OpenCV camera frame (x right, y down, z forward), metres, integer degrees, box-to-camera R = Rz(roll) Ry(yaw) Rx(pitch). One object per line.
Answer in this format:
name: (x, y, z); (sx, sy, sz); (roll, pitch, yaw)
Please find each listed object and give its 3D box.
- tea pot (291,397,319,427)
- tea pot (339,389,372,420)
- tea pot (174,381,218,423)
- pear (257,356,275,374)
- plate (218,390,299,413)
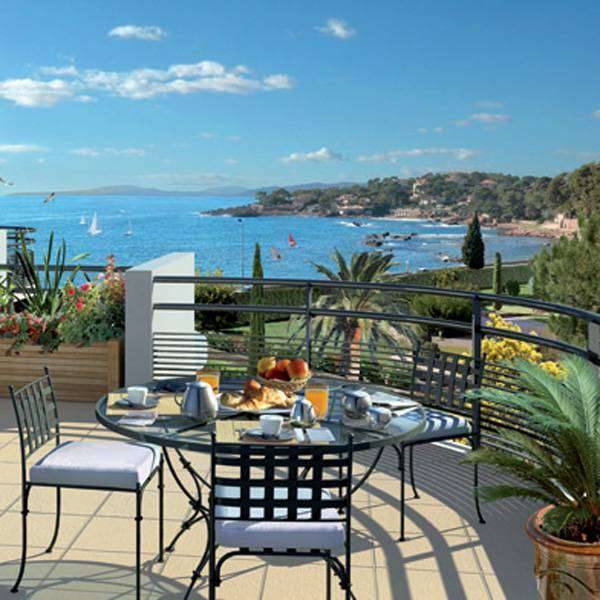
tea pot: (0.015, 0.394, 2.009); (0.088, 0.083, 0.099); (-1, -1, 3)
tea pot: (0.198, 0.367, 2.046); (0.113, 0.073, 0.097); (0, 1, 8)
tea pot: (-0.364, 0.367, 2.095); (0.165, 0.125, 0.128); (0, 2, 0)
pear: (-0.125, 0.260, 2.402); (0.087, 0.051, 0.056); (-3, -12, 6)
plate: (-0.171, 0.360, 2.239); (0.287, 0.065, 0.273); (-1, 5, -15)
